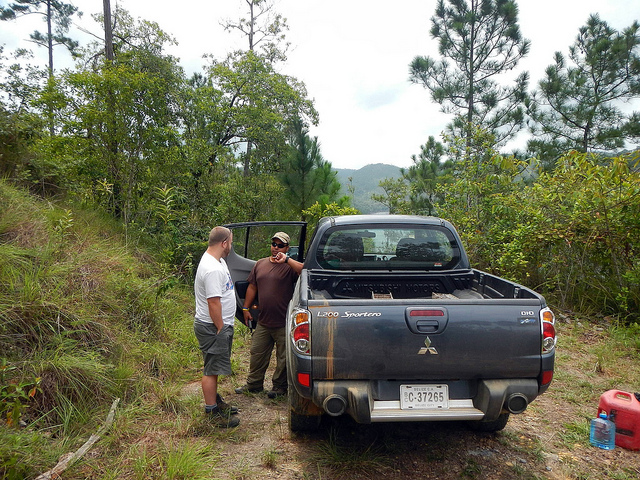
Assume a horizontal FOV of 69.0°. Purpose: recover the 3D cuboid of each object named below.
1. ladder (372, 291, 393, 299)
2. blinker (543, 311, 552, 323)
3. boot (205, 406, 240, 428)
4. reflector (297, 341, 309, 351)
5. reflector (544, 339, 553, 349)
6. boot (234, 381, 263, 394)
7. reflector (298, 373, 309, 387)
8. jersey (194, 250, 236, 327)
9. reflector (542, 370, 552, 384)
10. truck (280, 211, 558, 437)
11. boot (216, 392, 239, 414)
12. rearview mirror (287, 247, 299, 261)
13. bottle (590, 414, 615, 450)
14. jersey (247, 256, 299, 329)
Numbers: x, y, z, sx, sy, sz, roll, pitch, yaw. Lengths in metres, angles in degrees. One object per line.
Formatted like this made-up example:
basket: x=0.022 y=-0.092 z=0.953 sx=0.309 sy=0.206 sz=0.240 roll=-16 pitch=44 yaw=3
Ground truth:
ladder: x=0.786 y=0.694 z=5.843 sx=0.262 sy=0.052 sz=0.110 roll=0 pitch=1 yaw=-10
blinker: x=2.291 y=0.781 z=4.697 sx=0.105 sy=0.103 sz=0.044 roll=0 pitch=2 yaw=-20
boot: x=-1.124 y=2.111 z=5.643 sx=0.485 sy=0.329 sz=0.179 roll=0 pitch=0 yaw=-7
reflector: x=-0.163 y=1.059 z=4.645 sx=0.108 sy=0.095 sz=0.009 roll=1 pitch=2 yaw=6
reflector: x=2.294 y=1.050 z=4.676 sx=0.088 sy=0.090 sz=0.015 roll=0 pitch=2 yaw=-14
boot: x=-0.985 y=2.023 z=6.433 sx=0.410 sy=0.194 sz=0.146 roll=4 pitch=-6 yaw=-2
reflector: x=-0.159 y=1.393 z=4.645 sx=0.120 sy=0.157 sz=0.016 roll=2 pitch=9 yaw=4
jersey: x=-1.258 y=0.608 z=5.643 sx=0.463 sy=0.920 sz=0.385 roll=0 pitch=2 yaw=-15
reflector: x=2.283 y=1.383 z=4.723 sx=0.084 sy=0.137 sz=0.130 roll=6 pitch=14 yaw=7
truck: x=0.932 y=0.912 z=6.468 sx=1.962 sy=1.792 sz=3.807 roll=1 pitch=0 yaw=-3
boot: x=-1.174 y=2.012 z=5.744 sx=0.402 sy=0.279 sz=0.145 roll=6 pitch=5 yaw=-18
rearview mirror: x=-0.376 y=0.186 z=6.552 sx=0.112 sy=0.147 sz=0.151 roll=0 pitch=16 yaw=-11
bottle: x=3.252 y=2.219 z=5.349 sx=0.145 sy=0.421 sz=0.264 roll=29 pitch=-26 yaw=-32
jersey: x=-0.582 y=0.730 z=6.249 sx=0.562 sy=0.912 sz=0.230 roll=0 pitch=2 yaw=-3
